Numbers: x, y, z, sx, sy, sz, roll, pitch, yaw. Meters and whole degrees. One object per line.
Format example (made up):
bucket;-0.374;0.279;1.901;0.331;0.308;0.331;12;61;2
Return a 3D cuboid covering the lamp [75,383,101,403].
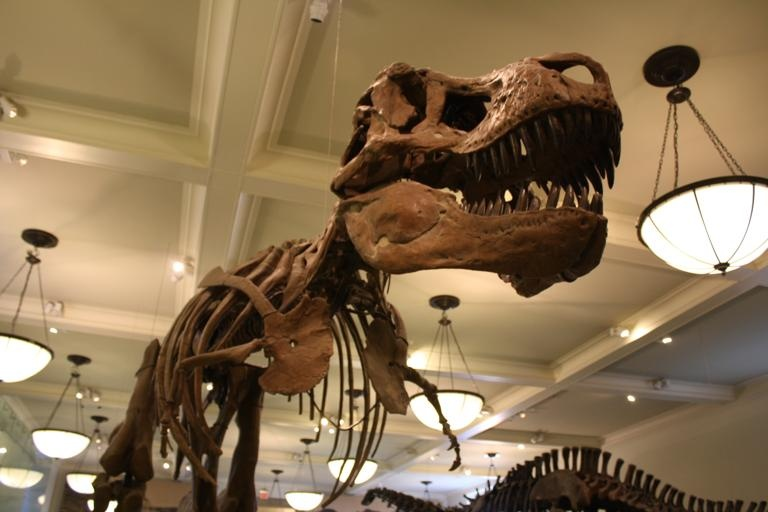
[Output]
lamp;-5.441;2.544;11.094;0.305;0.200;0.423;22;-19;4

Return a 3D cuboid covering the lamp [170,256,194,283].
lamp;-2.466;0.150;7.367;0.260;0.204;0.439;13;-28;-18
